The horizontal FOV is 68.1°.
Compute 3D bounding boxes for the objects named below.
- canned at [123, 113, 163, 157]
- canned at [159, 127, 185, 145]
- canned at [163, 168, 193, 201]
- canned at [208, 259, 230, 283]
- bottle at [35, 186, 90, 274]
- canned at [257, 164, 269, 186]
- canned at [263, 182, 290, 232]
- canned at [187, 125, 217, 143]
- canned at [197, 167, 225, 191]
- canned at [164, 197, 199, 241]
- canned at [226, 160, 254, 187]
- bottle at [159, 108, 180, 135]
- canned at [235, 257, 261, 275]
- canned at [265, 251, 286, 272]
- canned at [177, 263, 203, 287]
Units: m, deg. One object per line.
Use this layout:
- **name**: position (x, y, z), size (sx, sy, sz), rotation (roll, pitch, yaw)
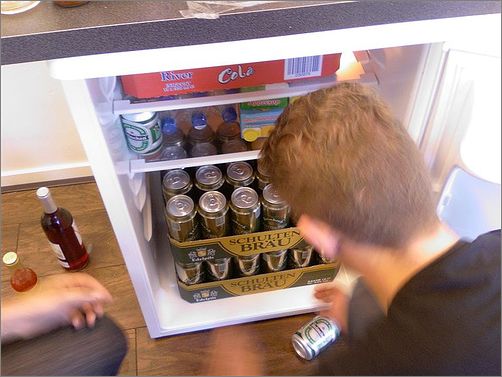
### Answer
- **canned**: position (-0.329, -0.162, 1.115), size (0.106, 0.151, 0.087), rotation (-8, 50, -5)
- **canned**: position (-0.254, -0.168, 1.225), size (0.065, 0.059, 0.057), rotation (-5, 57, -8)
- **canned**: position (-0.243, -0.010, 1.232), size (0.061, 0.094, 0.056), rotation (-32, 64, -17)
- **canned**: position (-0.119, 0.304, 1.389), size (0.078, 0.109, 0.068), rotation (-13, 38, -11)
- **bottle**: position (-0.839, 0.202, 1.661), size (0.134, 0.434, 0.120), rotation (-28, 58, -18)
- **canned**: position (0.036, -0.040, 1.141), size (0.045, 0.056, 0.040), rotation (11, 58, 10)
- **canned**: position (0.075, 0.054, 1.156), size (0.076, 0.171, 0.067), rotation (-3, 51, 4)
- **canned**: position (-0.165, -0.181, 1.240), size (0.078, 0.052, 0.068), rotation (-5, 54, -3)
- **canned**: position (-0.128, -0.036, 1.252), size (0.087, 0.074, 0.076), rotation (5, 55, 1)
- **canned**: position (-0.217, 0.119, 1.245), size (0.106, 0.097, 0.151), rotation (10, 80, -5)
- **canned**: position (-0.032, -0.038, 1.287), size (0.091, 0.077, 0.081), rotation (13, 56, 8)
- **bottle**: position (-0.265, -0.219, 1.207), size (0.054, 0.084, 0.053), rotation (1, 54, -2)
- **canned**: position (-0.012, 0.293, 1.397), size (0.093, 0.092, 0.082), rotation (-4, 47, -1)
- **canned**: position (0.088, 0.270, 1.390), size (0.072, 0.101, 0.062), rotation (-9, 48, -5)
- **canned**: position (-0.227, 0.318, 1.386), size (0.074, 0.077, 0.073), rotation (-24, 53, -15)
